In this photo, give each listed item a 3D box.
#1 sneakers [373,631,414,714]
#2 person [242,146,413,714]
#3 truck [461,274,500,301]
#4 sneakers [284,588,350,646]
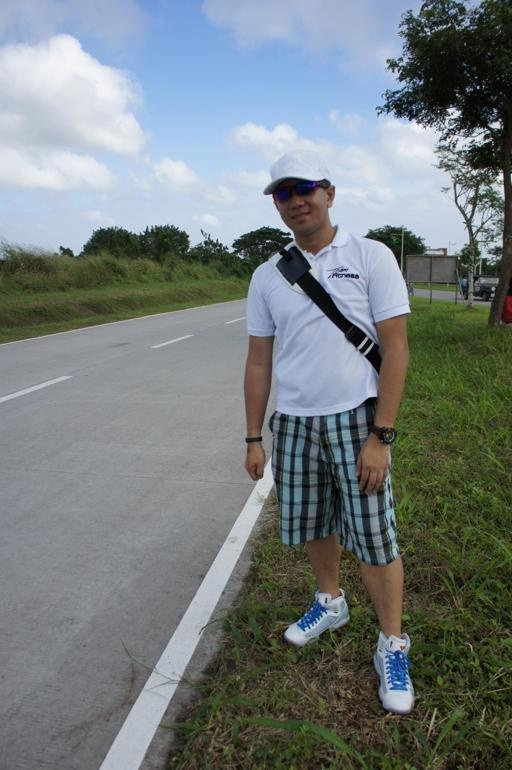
[{"bbox_3d":[0.436,0.930,1.789,0.077,0.104,0.230,1,8,4],"label":"sneakers"},{"bbox_3d":[0.273,0.103,1.946,0.316,1.784,0.839,-10,14,-41],"label":"person"},{"bbox_3d":[13.055,-5.654,32.663,1.607,1.458,8.295,4,12,22],"label":"truck"},{"bbox_3d":[0.248,0.868,2.221,0.324,0.158,0.114,-22,27,-31],"label":"sneakers"}]
